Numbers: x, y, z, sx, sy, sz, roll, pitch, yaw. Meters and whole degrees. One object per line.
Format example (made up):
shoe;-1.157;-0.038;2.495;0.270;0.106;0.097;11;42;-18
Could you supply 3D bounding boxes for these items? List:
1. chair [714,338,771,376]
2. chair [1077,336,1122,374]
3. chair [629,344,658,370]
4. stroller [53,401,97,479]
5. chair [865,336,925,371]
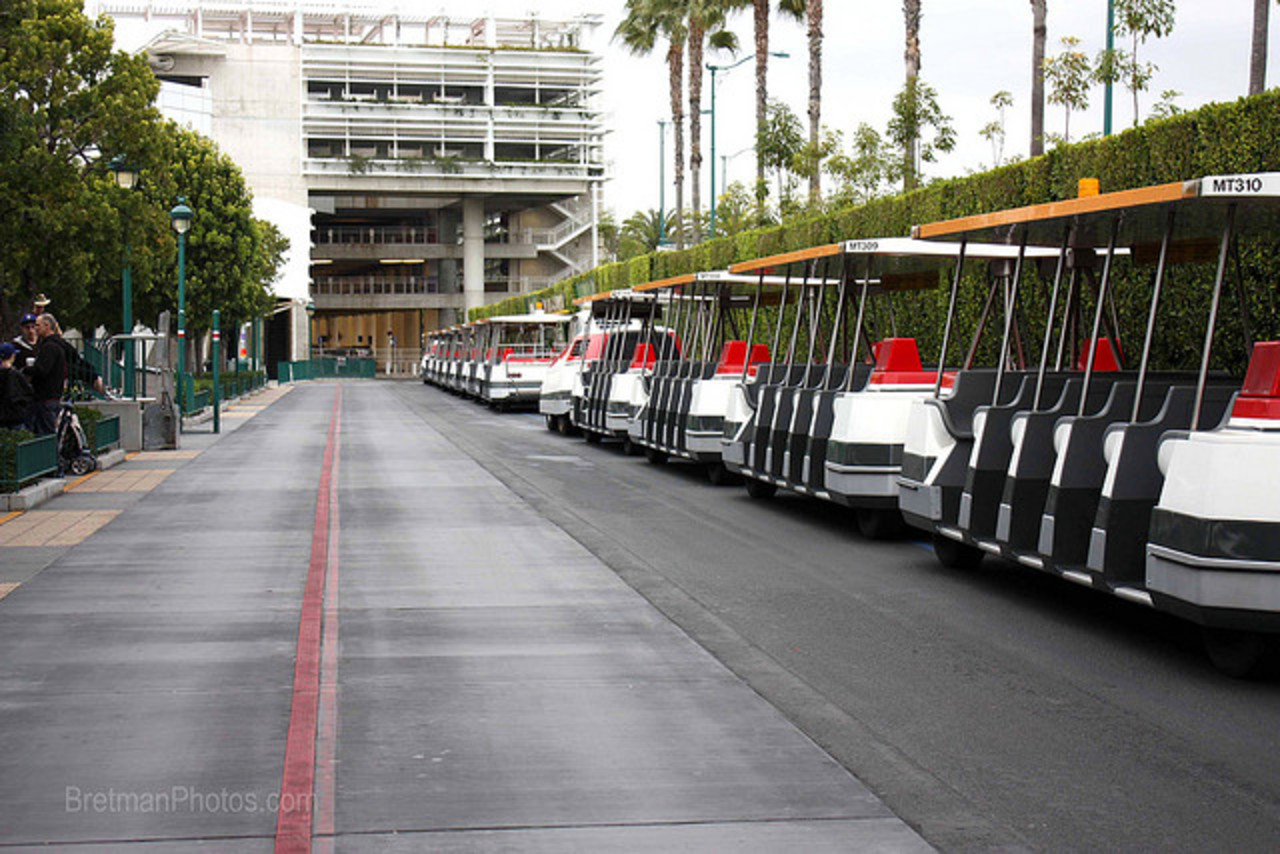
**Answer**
chair;1.722;-1.200;20.663;0.653;0.341;0.909;0;-1;-10
chair;4.635;-0.761;12.327;0.425;0.380;4.456;2;5;20
chair;0.155;-1.531;26.041;0.567;0.581;0.589;1;-2;-18
stroller;-9.452;0.268;20.434;0.630;0.782;1.262;-2;-5;-22
chair;3.086;-0.879;14.575;0.570;0.470;0.717;-2;2;13
